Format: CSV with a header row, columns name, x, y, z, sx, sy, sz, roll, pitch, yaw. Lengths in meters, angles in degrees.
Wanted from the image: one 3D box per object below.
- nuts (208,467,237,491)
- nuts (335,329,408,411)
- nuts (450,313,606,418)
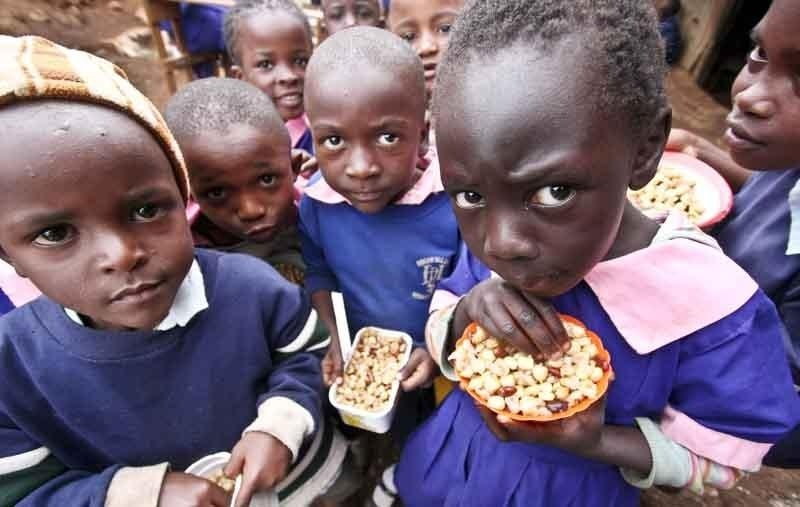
name,x,y,z,sx,sy,sz,roll,pitch,yaw
nuts,-0.900,1.151,3.349,0.123,0.047,0.122,-36,100,-17
nuts,-0.165,0.671,3.859,0.318,0.154,0.462,12,58,17
nuts,0.635,0.544,3.216,0.634,0.511,0.661,-2,10,-21
